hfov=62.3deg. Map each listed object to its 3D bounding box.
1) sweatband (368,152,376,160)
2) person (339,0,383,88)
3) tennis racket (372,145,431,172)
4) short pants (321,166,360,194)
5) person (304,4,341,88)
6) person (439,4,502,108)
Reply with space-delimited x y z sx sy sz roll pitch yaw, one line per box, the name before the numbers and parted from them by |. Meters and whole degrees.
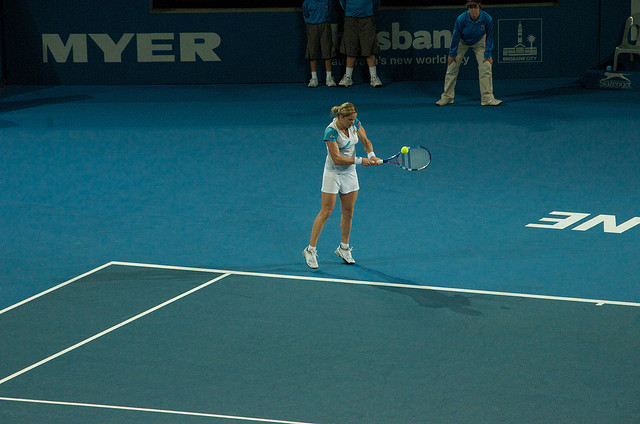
sweatband | 0.689 -0.753 7.018 0.112 0.113 0.096 -1 14 -1
person | 1.031 -4.408 13.901 1.093 2.153 0.911 -1 21 3
tennis racket | 0.906 -0.651 6.702 1.087 0.292 0.081 -10 28 -26
short pants | 0.244 -0.372 7.028 0.590 0.457 0.307 -1 5 -10
person | 0.059 -4.454 14.133 0.868 2.079 1.000 -3 21 -1
person | 3.362 -3.432 11.635 1.140 2.130 0.515 3 22 14
